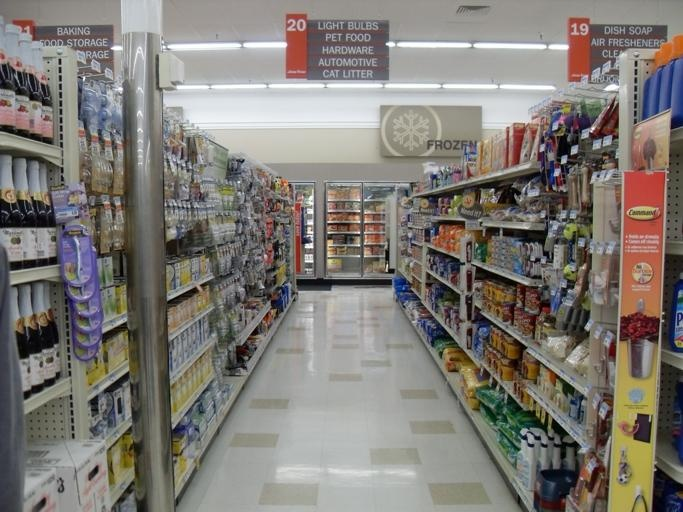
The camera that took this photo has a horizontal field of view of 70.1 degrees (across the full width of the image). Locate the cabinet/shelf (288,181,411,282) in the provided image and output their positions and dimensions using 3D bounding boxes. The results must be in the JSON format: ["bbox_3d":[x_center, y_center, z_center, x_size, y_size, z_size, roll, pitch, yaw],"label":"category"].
[{"bbox_3d":[0.235,-0.648,10.989,1.968,2.013,0.752,0,-1,0],"label":"cabinet/shelf"}]

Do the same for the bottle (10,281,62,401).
[{"bbox_3d":[-1.317,0.344,2.103,0.108,0.454,0.274,0,6,-5],"label":"bottle"}]
